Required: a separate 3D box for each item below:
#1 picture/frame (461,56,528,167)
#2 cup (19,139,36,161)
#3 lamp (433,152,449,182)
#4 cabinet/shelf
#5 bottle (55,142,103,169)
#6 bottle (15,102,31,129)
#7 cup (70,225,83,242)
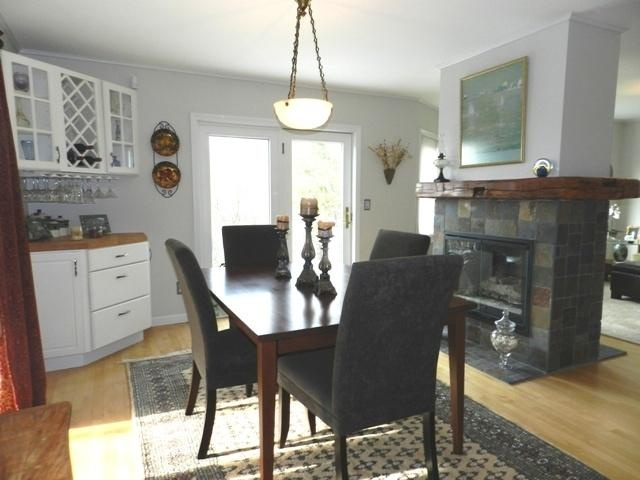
[{"bbox_3d":[1.559,-1.134,4.391,0.074,0.887,0.734,-5,9,-30],"label":"picture/frame"},{"bbox_3d":[-2.431,-0.753,4.005,0.078,0.180,0.089,3,8,27],"label":"cup"},{"bbox_3d":[1.215,-0.728,4.810,0.140,0.297,0.313,1,7,15],"label":"lamp"},{"bbox_3d":[-2.091,-0.248,4.321,0.583,2.578,1.127,3,9,28],"label":"cabinet/shelf"},{"bbox_3d":[-2.164,-0.760,4.294,0.368,0.115,0.107,-2,-28,-5],"label":"bottle"},{"bbox_3d":[-2.422,-1.035,3.937,0.117,0.231,0.056,-8,11,-44],"label":"bottle"},{"bbox_3d":[-2.136,-0.063,4.273,0.121,0.147,0.121,2,12,0],"label":"cup"}]
